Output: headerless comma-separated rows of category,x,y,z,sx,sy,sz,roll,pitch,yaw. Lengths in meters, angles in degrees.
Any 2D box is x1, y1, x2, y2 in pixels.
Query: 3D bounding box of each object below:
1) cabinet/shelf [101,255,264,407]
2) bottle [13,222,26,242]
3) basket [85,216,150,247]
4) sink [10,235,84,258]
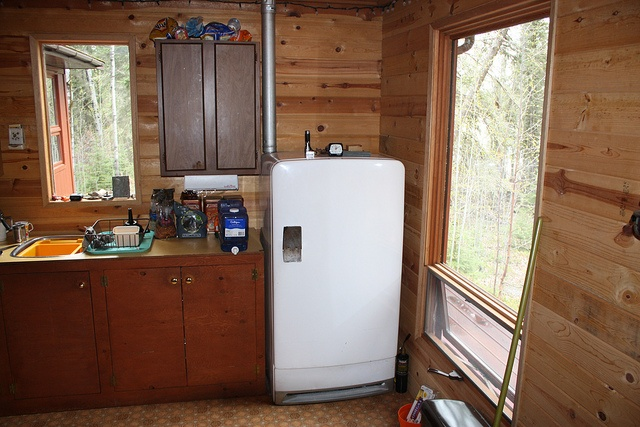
cabinet/shelf,-1.091,0.853,3.333,1.275,1.067,0.469,-1,7,-11
bottle,-2.386,0.152,3.498,0.089,0.147,0.098,10,16,44
basket,-1.635,0.132,3.546,0.461,0.186,0.601,-5,11,-21
sink,-2.137,0.274,3.524,0.317,0.107,0.239,-1,21,-11
